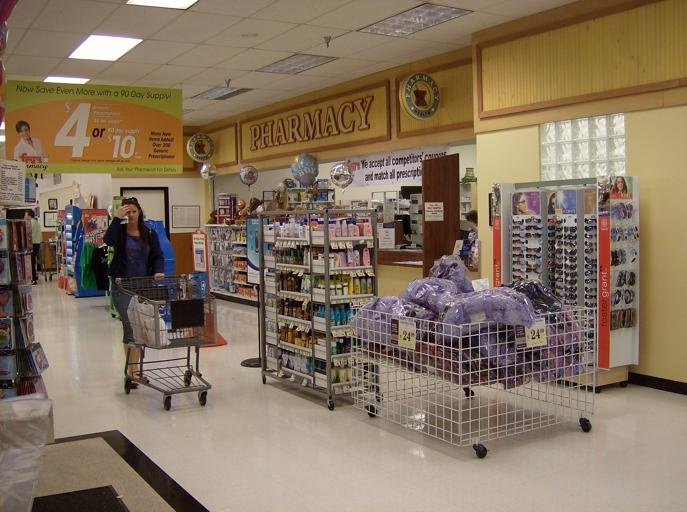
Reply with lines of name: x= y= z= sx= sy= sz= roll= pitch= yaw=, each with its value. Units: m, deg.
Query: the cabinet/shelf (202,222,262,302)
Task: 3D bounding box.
cabinet/shelf: x=-2.696 y=-0.018 z=12.683 sx=1.621 sy=1.524 sz=0.512 roll=3 pitch=6 yaw=43

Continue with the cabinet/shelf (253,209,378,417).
cabinet/shelf: x=-0.282 y=0.635 z=5.596 sx=0.865 sy=2.649 sz=2.017 roll=-1 pitch=1 yaw=-33

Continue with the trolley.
trolley: x=-2.022 y=0.878 z=5.640 sx=0.789 sy=1.415 sz=1.144 roll=-1 pitch=-1 yaw=-37
